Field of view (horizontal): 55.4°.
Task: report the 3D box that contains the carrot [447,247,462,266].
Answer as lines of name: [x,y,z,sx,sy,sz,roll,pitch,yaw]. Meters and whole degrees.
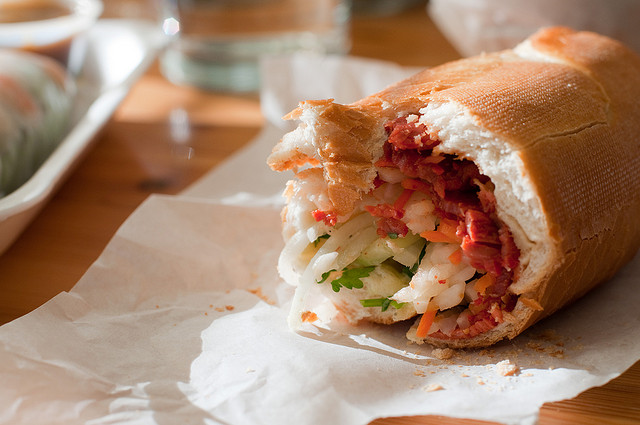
carrot: [0.227,0.073,1.027,0.014,0.010,0.027,28,91,20]

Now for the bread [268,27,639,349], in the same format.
bread: [0.325,-0.119,1.136,0.652,0.427,0.483,-20,31,-25]

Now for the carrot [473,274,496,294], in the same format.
carrot: [0.276,0.120,1.021,0.021,0.009,0.034,39,89,5]

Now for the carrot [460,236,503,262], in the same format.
carrot: [0.265,0.064,0.997,0.044,0.043,0.016,14,102,-15]

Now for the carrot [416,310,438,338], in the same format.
carrot: [0.182,0.192,1.053,0.018,0.015,0.064,35,76,-21]

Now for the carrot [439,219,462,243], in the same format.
carrot: [0.219,0.033,1.039,0.017,0.020,0.048,-37,61,-24]
